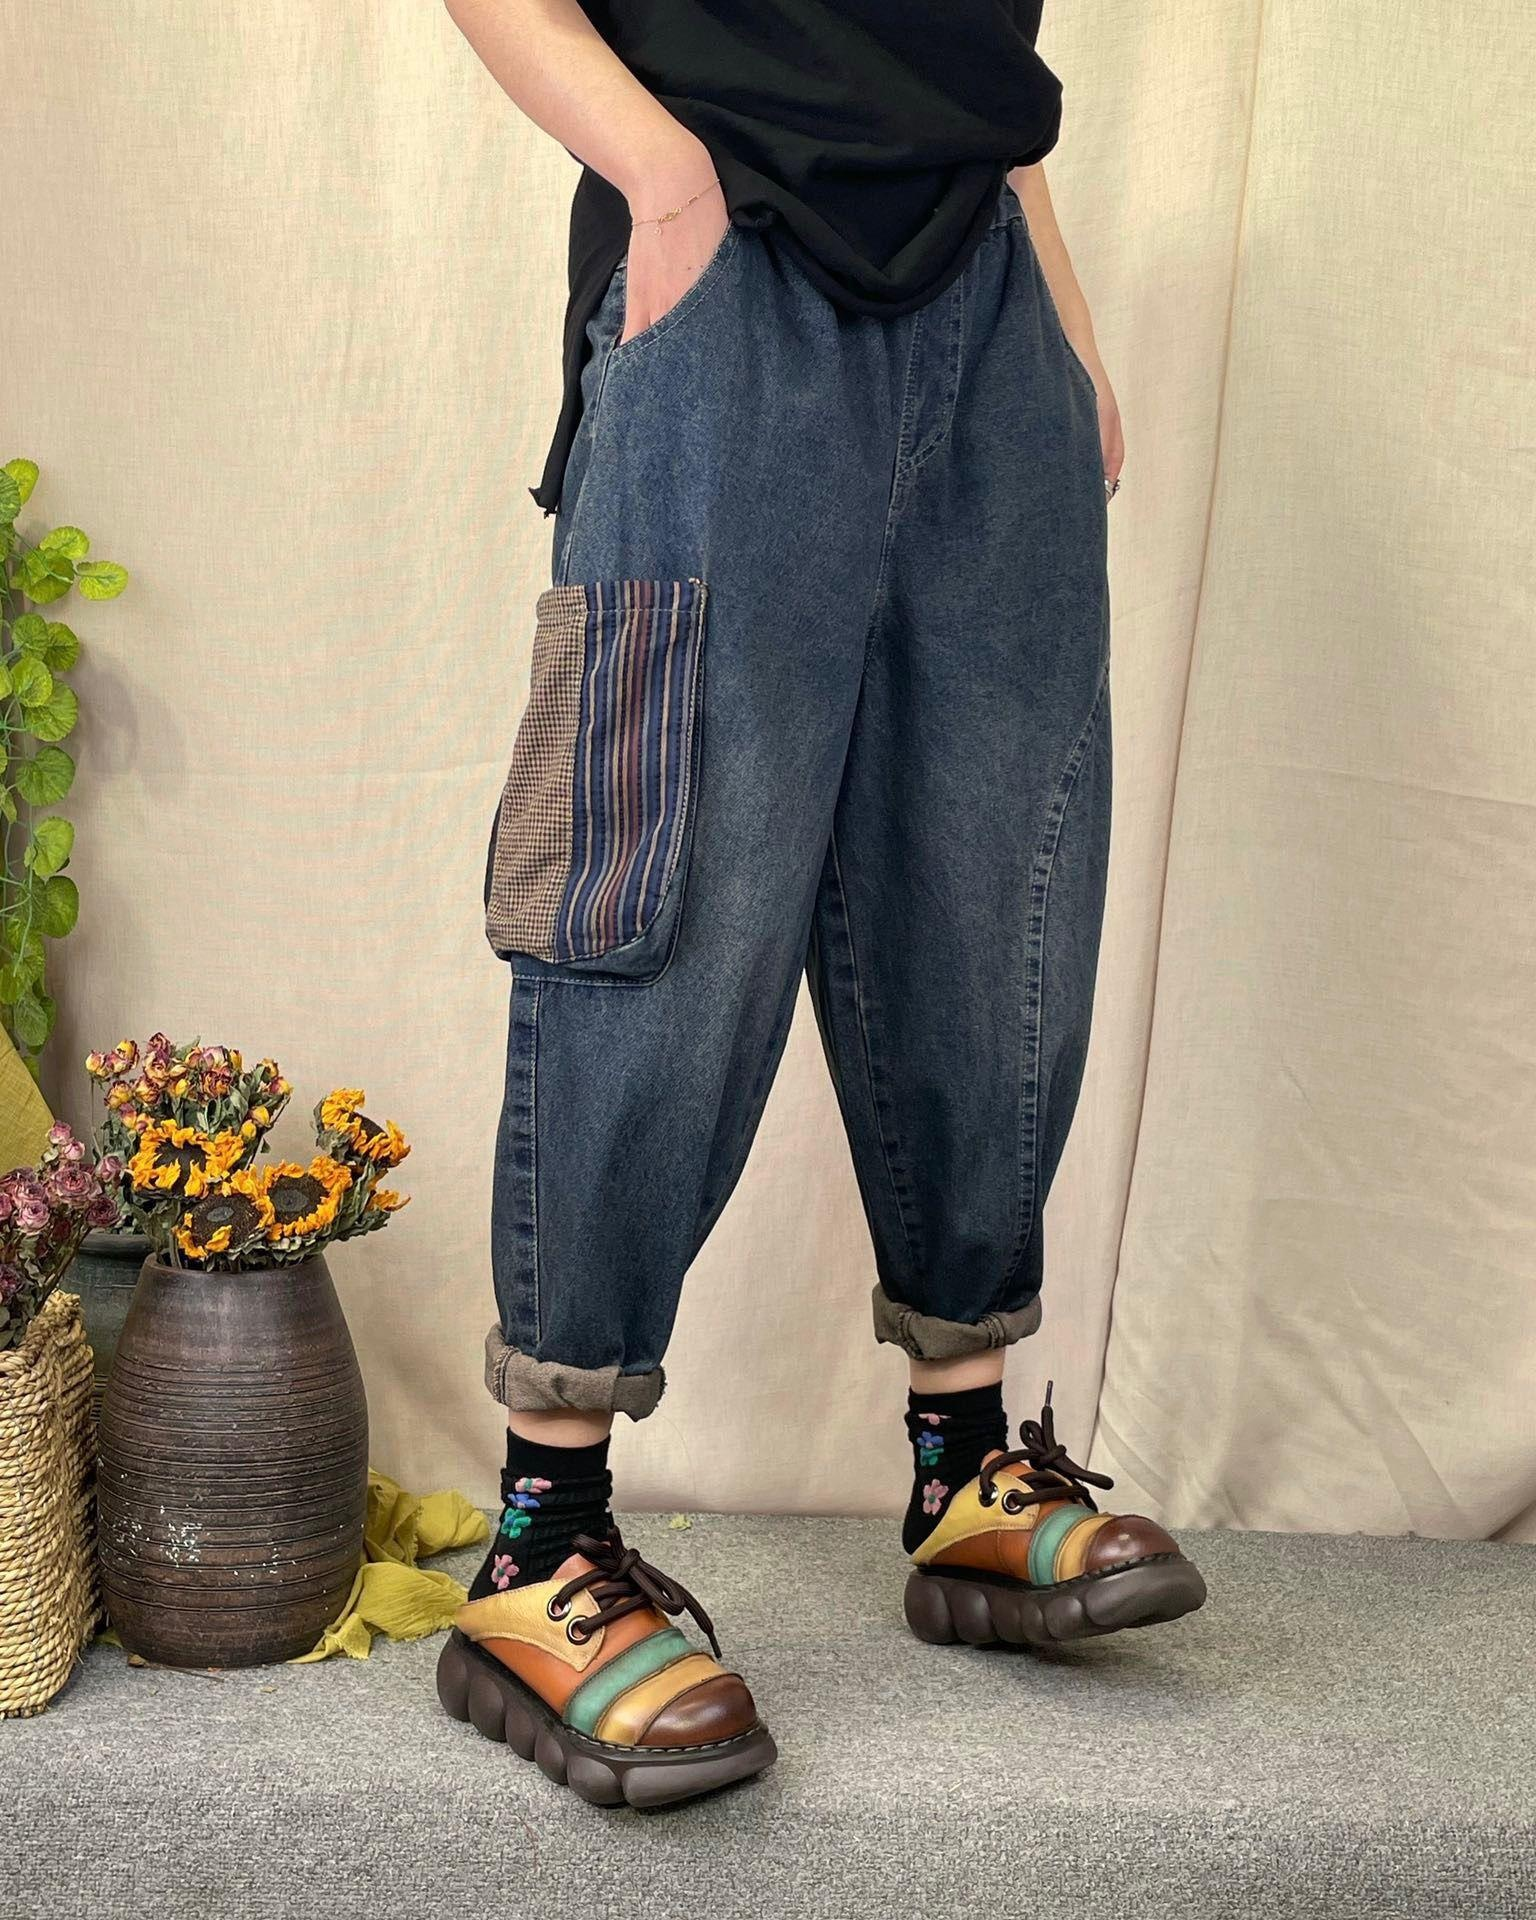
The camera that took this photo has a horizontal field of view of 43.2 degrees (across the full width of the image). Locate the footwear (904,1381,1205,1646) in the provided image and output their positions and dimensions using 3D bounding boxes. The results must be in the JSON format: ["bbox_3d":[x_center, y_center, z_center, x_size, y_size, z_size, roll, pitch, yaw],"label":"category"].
[{"bbox_3d":[0.186,0.364,1.303,0.125,0.171,0.275,3,-19,-30],"label":"footwear"}]

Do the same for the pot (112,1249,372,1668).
[{"bbox_3d":[-0.385,0.359,1.402,0.187,0.267,0.155,1,16,-18],"label":"pot"}]

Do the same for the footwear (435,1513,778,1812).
[{"bbox_3d":[-0.105,0.416,1.173,0.132,0.117,0.271,-7,6,-37],"label":"footwear"}]

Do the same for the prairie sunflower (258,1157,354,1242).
[{"bbox_3d":[-0.344,0.179,1.444,0.063,0.046,0.085,3,14,-11],"label":"prairie sunflower"}]

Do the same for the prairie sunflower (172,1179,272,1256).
[{"bbox_3d":[-0.392,0.186,1.402,0.044,0.047,0.054,19,19,41],"label":"prairie sunflower"}]

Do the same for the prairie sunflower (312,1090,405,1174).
[{"bbox_3d":[-0.327,0.134,1.556,0.064,0.063,0.108,2,14,-15],"label":"prairie sunflower"}]
